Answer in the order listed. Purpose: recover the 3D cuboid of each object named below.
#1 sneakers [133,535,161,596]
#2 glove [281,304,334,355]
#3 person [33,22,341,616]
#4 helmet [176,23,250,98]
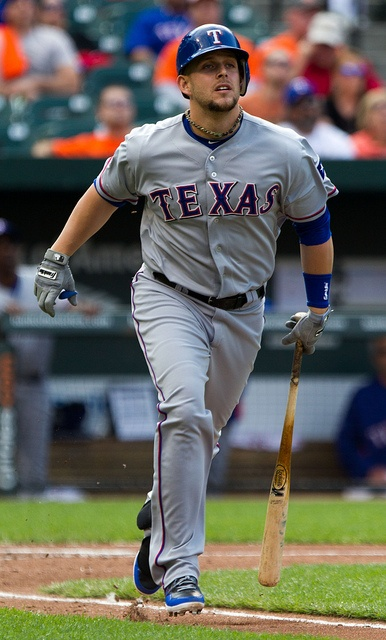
[{"bbox_3d":[-0.133,0.756,2.490,0.068,0.179,0.075,9,-24,-15],"label":"sneakers"},{"bbox_3d":[0.390,0.035,2.808,0.086,0.180,0.124,35,36,-26],"label":"glove"},{"bbox_3d":[-0.080,-0.111,2.503,0.770,1.532,0.949,13,23,25],"label":"person"},{"bbox_3d":[0.063,-0.791,2.476,0.222,0.220,0.235,3,20,0],"label":"helmet"}]
